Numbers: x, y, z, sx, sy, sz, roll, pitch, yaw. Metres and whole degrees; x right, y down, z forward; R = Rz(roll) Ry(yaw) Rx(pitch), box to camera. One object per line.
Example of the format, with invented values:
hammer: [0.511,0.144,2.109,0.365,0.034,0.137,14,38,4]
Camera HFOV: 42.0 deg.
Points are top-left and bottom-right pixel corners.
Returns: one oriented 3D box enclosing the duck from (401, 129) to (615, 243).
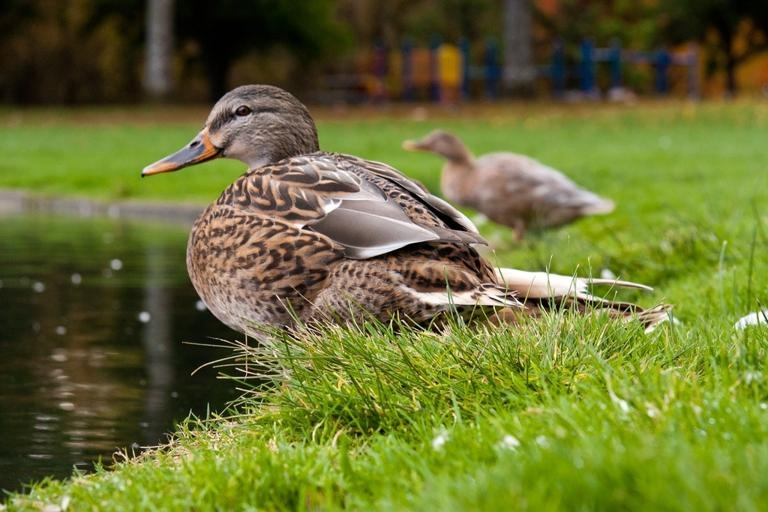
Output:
duck: [1.038,-0.532,8.026,1.677,0.816,0.591,3,4,6]

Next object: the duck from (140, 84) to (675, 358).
duck: [0.033,-0.101,4.339,2.359,1.058,0.840,9,13,25]
